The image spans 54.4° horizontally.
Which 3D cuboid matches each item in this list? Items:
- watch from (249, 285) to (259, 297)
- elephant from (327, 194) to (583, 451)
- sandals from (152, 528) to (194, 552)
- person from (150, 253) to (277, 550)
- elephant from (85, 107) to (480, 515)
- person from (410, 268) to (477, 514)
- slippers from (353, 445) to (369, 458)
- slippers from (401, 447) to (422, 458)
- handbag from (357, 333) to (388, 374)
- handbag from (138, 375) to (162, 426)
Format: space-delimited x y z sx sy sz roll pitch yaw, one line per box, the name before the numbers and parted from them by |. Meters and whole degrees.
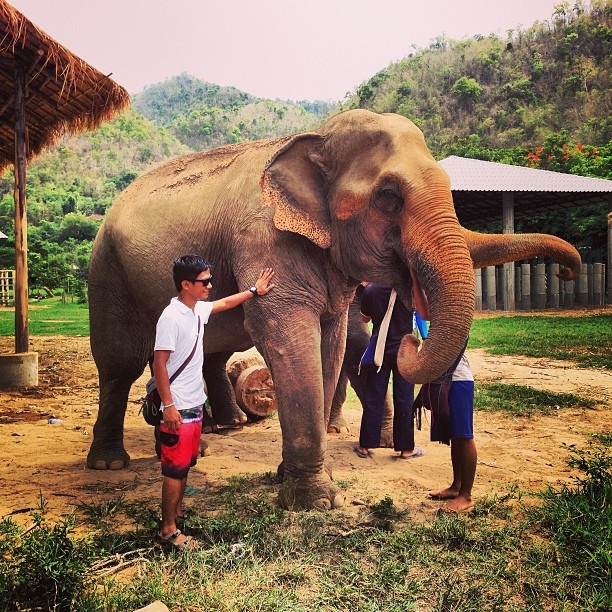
watch | -0.336 -0.094 3.756 0.043 0.060 0.058 -28 -15 -22
elephant | 0.716 -0.131 3.669 1.702 1.073 0.772 -2 -37 18
sandals | -0.735 1.269 3.261 0.194 0.082 0.095 0 2 18
person | -0.631 0.519 3.440 0.245 1.597 0.674 0 -1 27
elephant | -0.154 0.029 4.319 3.452 2.512 1.112 1 4 28
person | 0.938 0.768 3.780 0.356 1.028 0.547 1 -1 -3
slippers | 0.477 1.221 5.046 0.058 0.055 0.132 -2 9 -17
slippers | 0.879 1.226 5.015 0.184 0.075 0.074 -8 13 -27
handbag | 0.522 0.394 4.897 0.086 0.300 0.172 5 -14 -10
handbag | -0.888 0.555 3.357 0.126 0.172 0.104 7 27 42
